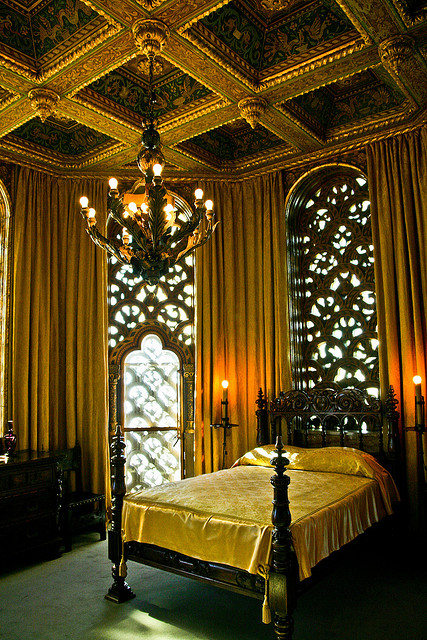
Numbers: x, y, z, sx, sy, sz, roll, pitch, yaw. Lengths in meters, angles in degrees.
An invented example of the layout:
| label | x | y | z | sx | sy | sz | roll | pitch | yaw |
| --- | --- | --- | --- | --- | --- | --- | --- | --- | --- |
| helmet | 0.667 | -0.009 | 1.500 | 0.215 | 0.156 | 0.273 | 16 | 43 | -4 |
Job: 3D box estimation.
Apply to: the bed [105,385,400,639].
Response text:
| label | x | y | z | sx | sy | sz | roll | pitch | yaw |
| --- | --- | --- | --- | --- | --- | --- | --- | --- | --- |
| bed | 0.494 | 1.235 | 4.130 | 1.414 | 1.342 | 2.164 | -5 | -8 | 37 |

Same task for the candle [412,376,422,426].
| label | x | y | z | sx | sy | sz | roll | pitch | yaw |
| --- | --- | --- | --- | --- | --- | --- | --- | --- | --- |
| candle | 1.714 | 0.675 | 4.470 | 0.081 | 0.411 | 0.208 | -4 | -8 | 19 |
